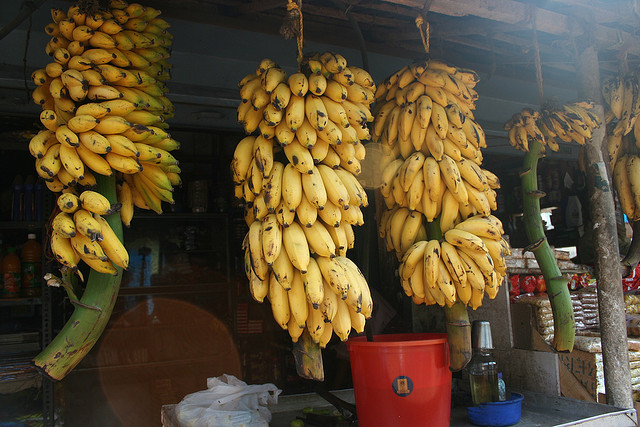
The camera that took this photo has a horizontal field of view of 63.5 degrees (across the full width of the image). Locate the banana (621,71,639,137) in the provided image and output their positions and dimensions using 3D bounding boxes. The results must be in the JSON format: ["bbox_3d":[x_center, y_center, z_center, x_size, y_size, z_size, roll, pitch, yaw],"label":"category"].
[{"bbox_3d":[1.902,-0.677,3.191,0.088,0.393,0.128,6,-13,-1],"label":"banana"}]

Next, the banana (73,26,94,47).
[{"bbox_3d":[-1.203,-0.906,2.625,0.087,0.084,0.079,5,-12,-35],"label":"banana"}]

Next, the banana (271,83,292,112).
[{"bbox_3d":[-0.187,-0.558,2.467,0.059,0.145,0.074,-3,-39,41],"label":"banana"}]

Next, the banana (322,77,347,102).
[{"bbox_3d":[0.066,-0.607,2.543,0.134,0.068,0.063,25,6,30],"label":"banana"}]

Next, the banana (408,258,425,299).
[{"bbox_3d":[0.505,0.333,2.667,0.069,0.220,0.059,-1,-2,2],"label":"banana"}]

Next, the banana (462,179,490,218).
[{"bbox_3d":[0.844,-0.080,2.814,0.078,0.272,0.090,-29,14,29],"label":"banana"}]

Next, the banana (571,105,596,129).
[{"bbox_3d":[1.500,-0.552,2.959,0.029,0.148,0.038,-35,-6,-3],"label":"banana"}]

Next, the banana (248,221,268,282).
[{"bbox_3d":[-0.284,0.178,2.490,0.089,0.287,0.077,-10,-12,34],"label":"banana"}]

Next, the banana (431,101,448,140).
[{"bbox_3d":[0.630,-0.499,2.737,0.064,0.203,0.065,-2,-30,-11],"label":"banana"}]

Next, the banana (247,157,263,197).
[{"bbox_3d":[-0.327,-0.186,2.521,0.057,0.191,0.053,-35,-34,27],"label":"banana"}]

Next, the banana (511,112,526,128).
[{"bbox_3d":[1.199,-0.568,3.098,0.063,0.085,0.026,-3,-9,43],"label":"banana"}]

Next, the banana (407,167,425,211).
[{"bbox_3d":[0.505,-0.132,2.767,0.061,0.219,0.069,11,-9,-5],"label":"banana"}]

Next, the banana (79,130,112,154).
[{"bbox_3d":[-1.110,-0.366,2.582,0.213,0.077,0.066,28,-15,34],"label":"banana"}]

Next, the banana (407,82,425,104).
[{"bbox_3d":[0.512,-0.655,2.763,0.068,0.125,0.039,18,-38,-6],"label":"banana"}]

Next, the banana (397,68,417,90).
[{"bbox_3d":[0.470,-0.734,2.805,0.063,0.127,0.045,32,-2,11],"label":"banana"}]

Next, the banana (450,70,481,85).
[{"bbox_3d":[0.801,-0.737,2.827,0.134,0.049,0.071,-12,10,-2],"label":"banana"}]

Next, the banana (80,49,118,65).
[{"bbox_3d":[-1.116,-0.799,2.653,0.188,0.067,0.063,-8,-52,-2],"label":"banana"}]

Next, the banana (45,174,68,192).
[{"bbox_3d":[-1.332,-0.147,2.660,0.065,0.045,0.173,-16,-14,6],"label":"banana"}]

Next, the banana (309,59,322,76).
[{"bbox_3d":[-0.024,-0.727,2.560,0.030,0.091,0.048,17,-39,-32],"label":"banana"}]

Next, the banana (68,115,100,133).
[{"bbox_3d":[-1.162,-0.443,2.527,0.134,0.063,0.067,-9,21,3],"label":"banana"}]

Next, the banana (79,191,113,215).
[{"bbox_3d":[-1.102,-0.056,2.575,0.157,0.085,0.089,29,-43,8],"label":"banana"}]

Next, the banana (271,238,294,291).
[{"bbox_3d":[-0.167,0.236,2.425,0.064,0.229,0.074,-5,5,27],"label":"banana"}]

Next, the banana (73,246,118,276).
[{"bbox_3d":[-1.159,0.220,2.590,0.276,0.095,0.081,3,-39,21],"label":"banana"}]

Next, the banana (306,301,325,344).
[{"bbox_3d":[-0.022,0.510,2.441,0.058,0.203,0.064,-10,-4,-4],"label":"banana"}]

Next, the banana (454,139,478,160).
[{"bbox_3d":[0.815,-0.338,2.850,0.180,0.065,0.048,40,-40,-24],"label":"banana"}]

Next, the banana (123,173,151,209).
[{"bbox_3d":[-1.003,-0.119,2.849,0.067,0.259,0.083,7,30,32],"label":"banana"}]

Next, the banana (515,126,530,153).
[{"bbox_3d":[1.192,-0.452,3.078,0.060,0.185,0.049,-7,-9,-29],"label":"banana"}]

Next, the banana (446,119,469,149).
[{"bbox_3d":[0.723,-0.417,2.793,0.056,0.190,0.063,-37,-3,17],"label":"banana"}]

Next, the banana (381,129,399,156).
[{"bbox_3d":[0.389,-0.380,2.867,0.067,0.177,0.045,-2,27,-17],"label":"banana"}]

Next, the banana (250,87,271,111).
[{"bbox_3d":[-0.280,-0.555,2.517,0.085,0.163,0.053,-3,-38,3],"label":"banana"}]

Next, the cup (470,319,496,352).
[{"bbox_3d":[0.885,0.637,2.780,0.146,0.173,0.149,-6,6,1],"label":"cup"}]

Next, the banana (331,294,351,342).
[{"bbox_3d":[0.105,0.503,2.523,0.076,0.244,0.078,-3,-9,-15],"label":"banana"}]

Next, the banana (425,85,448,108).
[{"bbox_3d":[0.620,-0.634,2.759,0.069,0.127,0.040,-29,2,11],"label":"banana"}]

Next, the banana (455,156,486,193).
[{"bbox_3d":[0.801,-0.214,2.794,0.084,0.250,0.075,-13,-26,-44],"label":"banana"}]

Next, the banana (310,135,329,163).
[{"bbox_3d":[-0.003,-0.314,2.520,0.071,0.120,0.042,16,-10,-8],"label":"banana"}]

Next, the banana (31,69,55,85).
[{"bbox_3d":[-1.441,-0.711,2.694,0.070,0.064,0.126,0,10,-13],"label":"banana"}]

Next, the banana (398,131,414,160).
[{"bbox_3d":[0.469,-0.364,2.819,0.060,0.173,0.053,-5,5,-23],"label":"banana"}]

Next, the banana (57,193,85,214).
[{"bbox_3d":[-1.215,-0.054,2.519,0.065,0.086,0.109,24,-5,-36],"label":"banana"}]

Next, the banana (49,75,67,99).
[{"bbox_3d":[-1.313,-0.627,2.582,0.063,0.116,0.039,-16,-31,1],"label":"banana"}]

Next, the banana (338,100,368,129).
[{"bbox_3d":[0.172,-0.497,2.625,0.075,0.204,0.057,-49,-10,-9],"label":"banana"}]

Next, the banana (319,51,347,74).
[{"bbox_3d":[0.061,-0.769,2.629,0.076,0.067,0.145,-35,37,-15],"label":"banana"}]

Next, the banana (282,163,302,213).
[{"bbox_3d":[-0.136,-0.133,2.508,0.071,0.226,0.077,-17,-28,22],"label":"banana"}]

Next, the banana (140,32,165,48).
[{"bbox_3d":[-0.885,-0.933,2.767,0.159,0.048,0.055,16,-17,22],"label":"banana"}]

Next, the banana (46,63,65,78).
[{"bbox_3d":[-1.335,-0.720,2.611,0.076,0.060,0.056,0,-3,27],"label":"banana"}]

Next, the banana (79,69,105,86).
[{"bbox_3d":[-1.138,-0.688,2.623,0.157,0.054,0.052,14,-30,18],"label":"banana"}]

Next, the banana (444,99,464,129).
[{"bbox_3d":[0.714,-0.532,2.752,0.056,0.189,0.067,6,-34,-23],"label":"banana"}]

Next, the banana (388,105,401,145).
[{"bbox_3d":[0.397,-0.480,2.809,0.063,0.199,0.053,21,-10,-38],"label":"banana"}]

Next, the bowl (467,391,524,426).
[{"bbox_3d":[0.938,1.031,2.728,0.299,0.142,0.122,0,-10,-10],"label":"bowl"}]

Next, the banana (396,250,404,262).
[{"bbox_3d":[0.438,0.231,2.839,0.039,0.063,0.040,-8,10,-14],"label":"banana"}]

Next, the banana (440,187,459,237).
[{"bbox_3d":[0.709,-0.005,2.811,0.078,0.274,0.093,8,-9,-29],"label":"banana"}]

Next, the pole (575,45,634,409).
[{"bbox_3d":[1.665,0.031,3.057,0.161,2.138,0.290,-6,-10,28],"label":"pole"}]

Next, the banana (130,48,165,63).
[{"bbox_3d":[-0.928,-0.840,2.742,0.160,0.045,0.054,21,-30,-35],"label":"banana"}]

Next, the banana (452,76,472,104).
[{"bbox_3d":[0.779,-0.651,2.779,0.056,0.171,0.046,-43,16,-11],"label":"banana"}]
